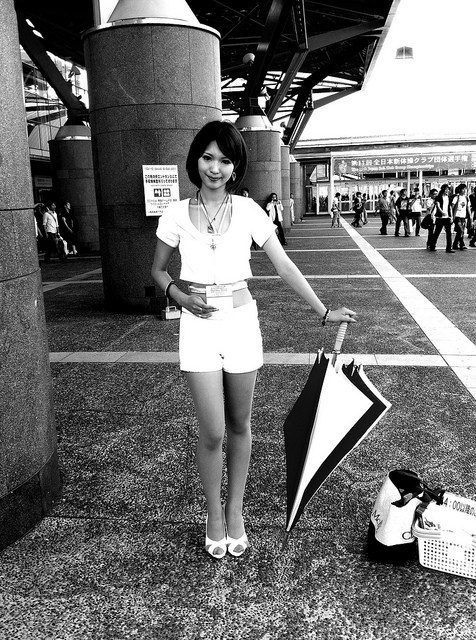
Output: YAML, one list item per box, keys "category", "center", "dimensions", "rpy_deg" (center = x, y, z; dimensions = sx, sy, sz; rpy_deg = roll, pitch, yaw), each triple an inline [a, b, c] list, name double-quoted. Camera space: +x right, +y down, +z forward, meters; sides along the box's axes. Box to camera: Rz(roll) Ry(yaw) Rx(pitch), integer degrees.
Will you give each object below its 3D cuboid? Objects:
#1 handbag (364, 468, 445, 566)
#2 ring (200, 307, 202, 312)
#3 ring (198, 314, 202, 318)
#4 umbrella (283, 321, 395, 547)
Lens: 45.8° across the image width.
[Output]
- category: "handbag"
  center: [0.683, 0.817, 2.294]
  dimensions: [0.251, 0.323, 0.212]
  rpy_deg: [12, -12, 10]
- category: "ring"
  center: [-0.139, -0.042, 2.114]
  dimensions: [0.007, 0.015, 0.008]
  rpy_deg: [2, -1, -5]
- category: "ring"
  center: [-0.147, -0.015, 2.152]
  dimensions: [0.012, 0.017, 0.033]
  rpy_deg: [-2, 9, -4]
- category: "umbrella"
  center: [0.335, 0.427, 2.276]
  dimensions: [0.356, 0.891, 0.302]
  rpy_deg: [20, -13, -6]
